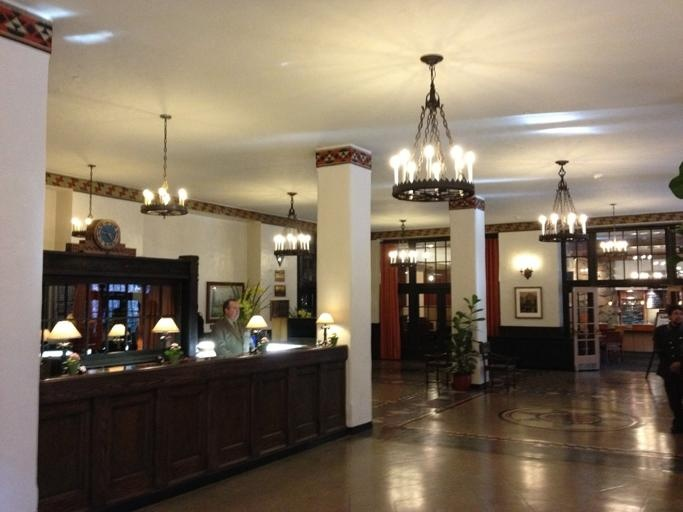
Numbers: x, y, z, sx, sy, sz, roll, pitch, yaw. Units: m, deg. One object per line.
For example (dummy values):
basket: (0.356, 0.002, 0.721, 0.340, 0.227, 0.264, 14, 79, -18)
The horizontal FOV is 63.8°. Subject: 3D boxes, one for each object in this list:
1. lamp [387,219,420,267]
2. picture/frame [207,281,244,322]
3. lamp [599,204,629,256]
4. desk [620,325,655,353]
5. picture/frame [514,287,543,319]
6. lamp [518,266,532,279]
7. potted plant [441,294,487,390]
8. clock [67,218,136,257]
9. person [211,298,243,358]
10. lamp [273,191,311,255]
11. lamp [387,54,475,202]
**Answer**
lamp: (1.911, -0.433, 17.176, 1.027, 1.472, 1.022, -4, 4, -41)
picture/frame: (-2.985, 1.190, 14.402, 0.055, 0.997, 1.463, -5, -6, 35)
lamp: (7.770, -0.461, 15.677, 0.733, 0.820, 0.901, -2, -4, 24)
desk: (10.415, 2.887, 19.343, 0.954, 0.931, 0.710, -2, -4, 26)
picture/frame: (5.653, 1.408, 16.486, 0.959, 1.109, 0.085, -4, -13, 32)
lamp: (5.569, 0.516, 16.510, 0.357, 0.379, 0.200, -1, -4, 13)
potted plant: (2.664, 1.840, 11.875, 0.750, 2.026, 0.561, -1, -4, 11)
clock: (-4.097, -0.319, 9.456, 0.230, 0.618, 1.260, -1, -4, 32)
person: (-1.567, 0.974, 7.608, 0.423, 0.740, 0.323, 1, -4, -21)
lamp: (-1.193, -0.739, 13.648, 1.079, 1.724, 1.053, -2, -1, 19)
lamp: (1.115, -1.617, 6.565, 0.998, 1.522, 0.961, -4, 7, -3)
